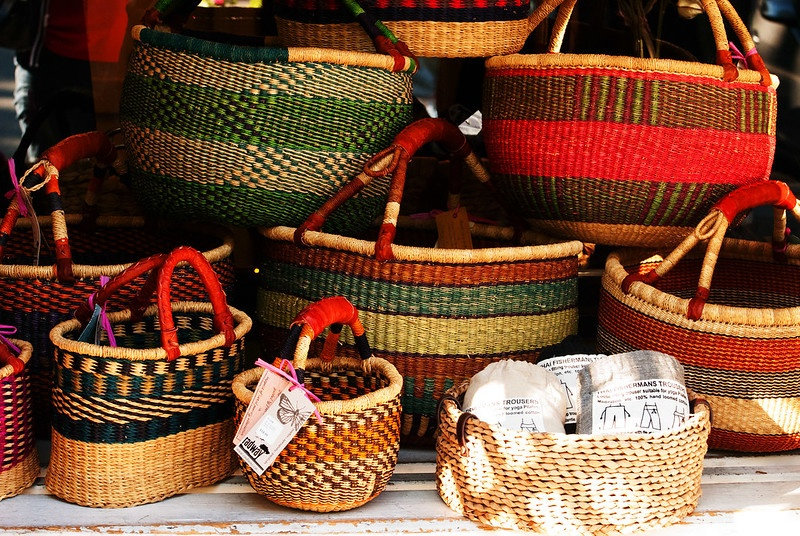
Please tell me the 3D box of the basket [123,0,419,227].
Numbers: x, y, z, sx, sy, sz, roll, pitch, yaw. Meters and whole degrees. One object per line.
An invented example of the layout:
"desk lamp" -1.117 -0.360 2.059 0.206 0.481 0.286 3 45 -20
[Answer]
"basket" -0.381 -0.454 2.646 0.816 0.822 0.526 9 14 6

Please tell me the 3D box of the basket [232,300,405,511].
"basket" -0.282 0.360 2.479 0.663 0.483 0.448 7 12 14

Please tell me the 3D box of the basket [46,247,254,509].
"basket" -0.727 0.278 2.528 0.437 0.613 0.612 14 12 26

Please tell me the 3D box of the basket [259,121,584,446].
"basket" 0.163 -0.014 2.983 0.948 0.927 1.262 -6 12 -41
